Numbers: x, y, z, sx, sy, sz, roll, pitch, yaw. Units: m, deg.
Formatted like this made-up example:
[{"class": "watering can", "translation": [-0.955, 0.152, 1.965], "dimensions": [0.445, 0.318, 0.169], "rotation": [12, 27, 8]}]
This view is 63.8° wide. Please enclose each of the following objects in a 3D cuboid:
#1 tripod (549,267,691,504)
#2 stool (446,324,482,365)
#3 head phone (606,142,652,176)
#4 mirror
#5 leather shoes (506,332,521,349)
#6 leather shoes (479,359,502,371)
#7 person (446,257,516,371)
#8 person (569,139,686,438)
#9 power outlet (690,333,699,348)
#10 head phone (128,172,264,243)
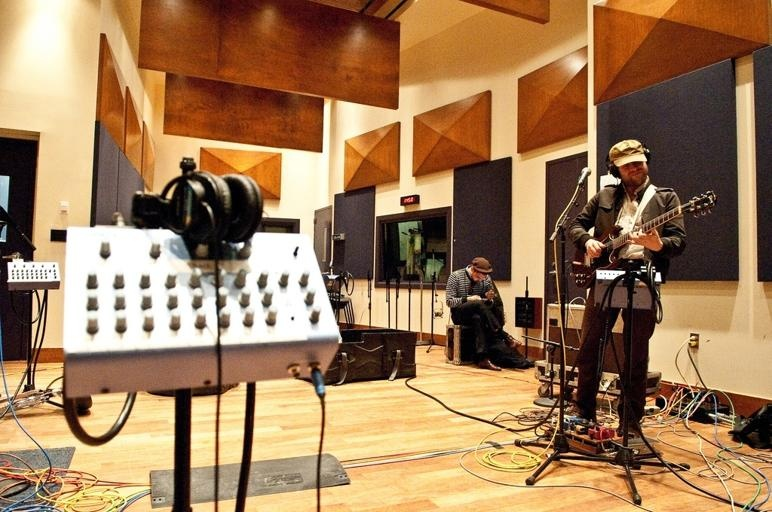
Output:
[{"class": "tripod", "translation": [1.501, 0.863, 4.405], "dimensions": [0.678, 1.528, 0.988], "rotation": [4, 4, -4]}, {"class": "stool", "translation": [0.968, 1.137, 8.027], "dimensions": [0.381, 0.510, 0.389], "rotation": [0, -1, 31]}, {"class": "head phone", "translation": [1.872, -0.798, 4.831], "dimensions": [0.310, 0.197, 0.392], "rotation": [-12, 5, 14]}, {"class": "mirror", "translation": [0.506, -0.149, 10.440], "dimensions": [0.100, 1.040, 1.430], "rotation": [1, -1, -38]}, {"class": "leather shoes", "translation": [1.717, 1.137, 8.304], "dimensions": [0.147, 0.193, 0.436], "rotation": [2, 7, 3]}, {"class": "leather shoes", "translation": [1.300, 1.339, 7.591], "dimensions": [0.108, 0.118, 0.318], "rotation": [3, -8, -43]}, {"class": "person", "translation": [1.279, 0.709, 8.035], "dimensions": [0.643, 1.427, 0.775], "rotation": [1, -1, -30]}, {"class": "person", "translation": [1.832, 0.198, 4.893], "dimensions": [0.670, 2.143, 0.912], "rotation": [7, -1, -41]}, {"class": "power outlet", "translation": [2.863, 0.787, 5.757], "dimensions": [0.029, 0.122, 0.109], "rotation": [14, -24, -39]}, {"class": "head phone", "translation": [-0.929, -0.240, 3.108], "dimensions": [0.496, 0.251, 0.401], "rotation": [6, 5, 40]}]
